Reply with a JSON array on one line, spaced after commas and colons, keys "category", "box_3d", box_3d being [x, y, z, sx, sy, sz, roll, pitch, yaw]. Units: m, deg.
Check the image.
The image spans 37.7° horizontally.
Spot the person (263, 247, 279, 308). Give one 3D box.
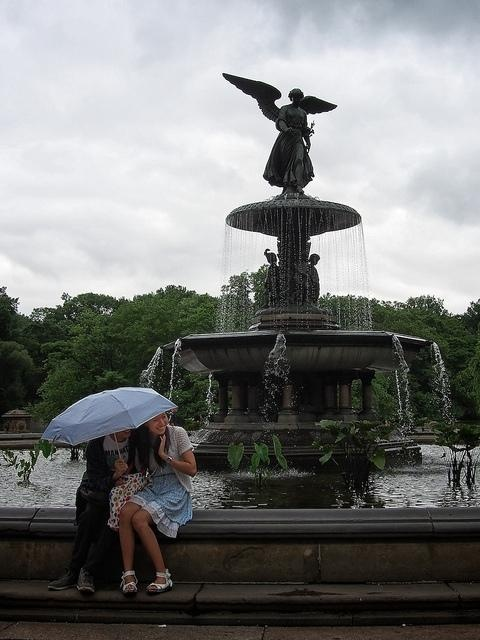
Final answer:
[{"category": "person", "box_3d": [0.758, -0.979, 16.930, 0.358, 1.456, 0.677, -1, -8, 3]}]

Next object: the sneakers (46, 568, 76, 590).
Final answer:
[{"category": "sneakers", "box_3d": [-1.102, 1.647, 4.410, 0.205, 0.078, 0.067, 6, -11, -44]}]

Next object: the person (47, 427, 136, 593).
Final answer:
[{"category": "person", "box_3d": [-0.959, 1.204, 4.472, 0.363, 0.958, 0.366, -5, -9, 28]}]

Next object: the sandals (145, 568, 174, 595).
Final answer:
[{"category": "sandals", "box_3d": [-0.485, 1.608, 4.279, 0.078, 0.088, 0.210, -5, -17, 19]}]

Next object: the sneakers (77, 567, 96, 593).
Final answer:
[{"category": "sneakers", "box_3d": [-0.948, 1.603, 4.297, 0.105, 0.127, 0.184, 1, -8, -14]}]

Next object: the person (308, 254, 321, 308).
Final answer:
[{"category": "person", "box_3d": [1.745, -0.952, 16.812, 0.233, 1.310, 0.431, -2, -8, 9]}]
